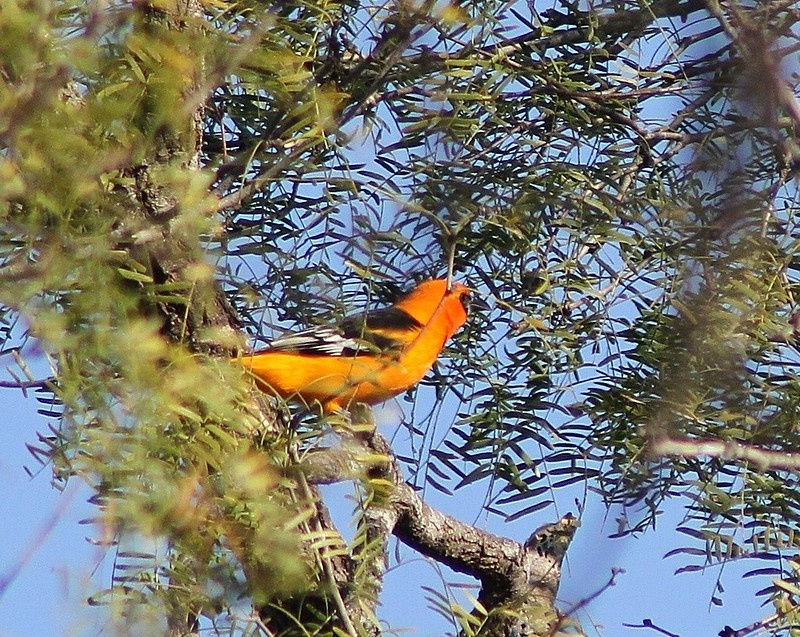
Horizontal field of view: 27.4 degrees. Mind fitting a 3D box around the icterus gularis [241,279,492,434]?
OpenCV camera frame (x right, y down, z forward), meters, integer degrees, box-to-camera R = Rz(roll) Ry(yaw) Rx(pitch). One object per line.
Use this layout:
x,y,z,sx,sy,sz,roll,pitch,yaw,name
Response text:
-0.071,0.065,4.580,0.884,0.332,0.264,-1,-4,-22,icterus gularis
